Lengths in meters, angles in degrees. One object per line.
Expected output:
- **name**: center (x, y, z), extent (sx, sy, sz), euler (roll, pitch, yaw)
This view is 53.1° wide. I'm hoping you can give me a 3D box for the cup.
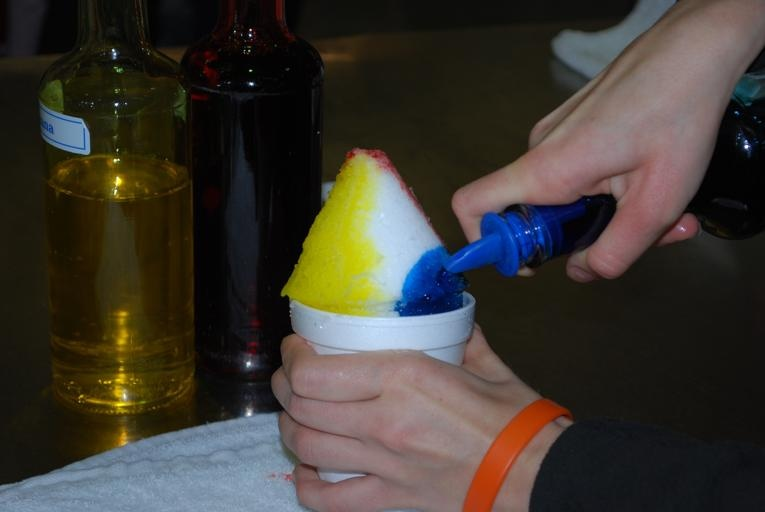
- **cup**: center (0.003, 0.123, 0.733), extent (0.206, 0.160, 0.193), euler (0, -1, 0)
